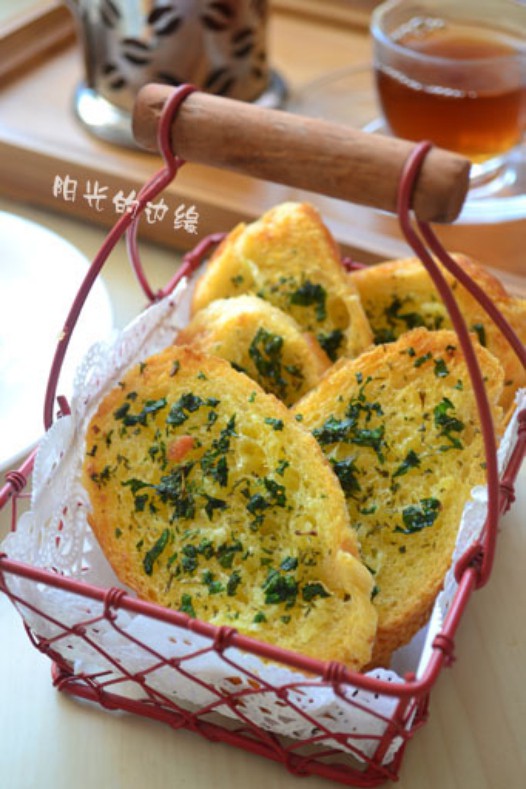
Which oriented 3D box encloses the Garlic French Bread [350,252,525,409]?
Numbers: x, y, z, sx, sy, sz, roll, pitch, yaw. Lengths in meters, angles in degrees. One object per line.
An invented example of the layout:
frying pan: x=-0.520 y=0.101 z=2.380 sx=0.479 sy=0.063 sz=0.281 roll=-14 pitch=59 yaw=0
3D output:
Garlic French Bread: x=0.132 y=-0.045 z=0.577 sx=0.123 sy=0.046 sz=0.115 roll=-17 pitch=72 yaw=16

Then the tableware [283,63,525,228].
tableware: x=0.173 y=-0.282 z=0.898 sx=0.287 sy=0.040 sz=0.248 roll=-3 pitch=32 yaw=-5

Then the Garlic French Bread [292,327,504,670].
Garlic French Bread: x=0.085 y=0.068 z=0.518 sx=0.129 sy=0.058 sz=0.206 roll=17 pitch=71 yaw=9
